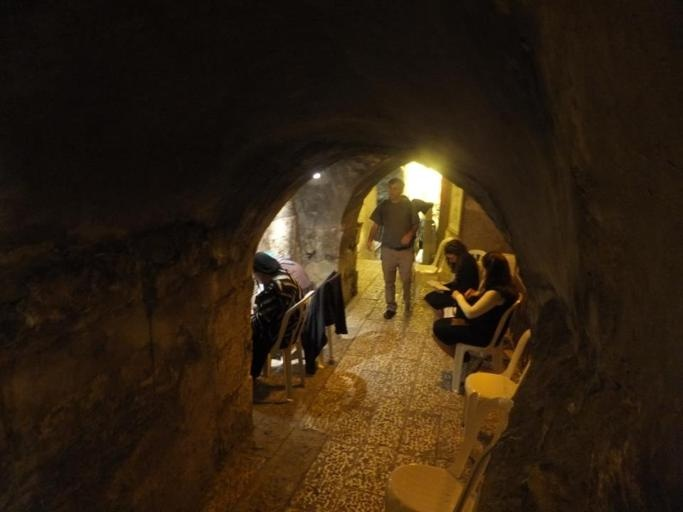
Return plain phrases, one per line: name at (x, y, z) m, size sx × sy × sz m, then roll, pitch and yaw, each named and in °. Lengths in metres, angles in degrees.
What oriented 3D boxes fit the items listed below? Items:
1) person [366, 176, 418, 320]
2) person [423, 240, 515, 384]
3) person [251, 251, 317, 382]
person at (0.505, -0.061, 4.847) m, size 0.433 × 1.331 × 0.418 m, roll 2°, pitch 0°, yaw -4°
person at (0.945, 0.437, 3.663) m, size 0.559 × 0.946 × 0.462 m, roll 17°, pitch 50°, yaw 25°
person at (-0.425, 0.381, 3.255) m, size 0.320 × 0.840 × 0.387 m, roll 2°, pitch 0°, yaw -8°
